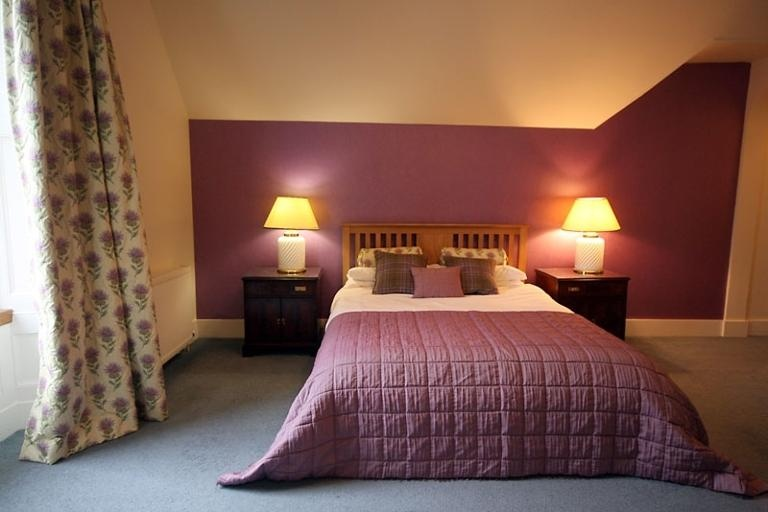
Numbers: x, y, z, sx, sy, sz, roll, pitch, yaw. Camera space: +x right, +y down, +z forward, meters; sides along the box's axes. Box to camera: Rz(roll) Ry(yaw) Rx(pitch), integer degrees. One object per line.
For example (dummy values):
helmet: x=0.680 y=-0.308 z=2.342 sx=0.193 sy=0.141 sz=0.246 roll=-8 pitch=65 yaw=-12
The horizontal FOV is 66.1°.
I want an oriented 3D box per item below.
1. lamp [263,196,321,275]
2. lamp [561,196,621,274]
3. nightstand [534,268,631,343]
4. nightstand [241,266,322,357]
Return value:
lamp: x=-0.942 y=-0.176 z=5.807 sx=0.513 sy=0.672 sz=0.512 roll=4 pitch=2 yaw=-20
lamp: x=2.051 y=-0.171 z=5.905 sx=0.580 sy=0.729 sz=0.548 roll=3 pitch=-2 yaw=-16
nightstand: x=1.954 y=0.477 z=6.000 sx=0.712 sy=0.981 sz=0.670 roll=0 pitch=5 yaw=-1
nightstand: x=-1.079 y=0.625 z=5.820 sx=0.767 sy=0.723 sz=0.616 roll=1 pitch=-12 yaw=-17
